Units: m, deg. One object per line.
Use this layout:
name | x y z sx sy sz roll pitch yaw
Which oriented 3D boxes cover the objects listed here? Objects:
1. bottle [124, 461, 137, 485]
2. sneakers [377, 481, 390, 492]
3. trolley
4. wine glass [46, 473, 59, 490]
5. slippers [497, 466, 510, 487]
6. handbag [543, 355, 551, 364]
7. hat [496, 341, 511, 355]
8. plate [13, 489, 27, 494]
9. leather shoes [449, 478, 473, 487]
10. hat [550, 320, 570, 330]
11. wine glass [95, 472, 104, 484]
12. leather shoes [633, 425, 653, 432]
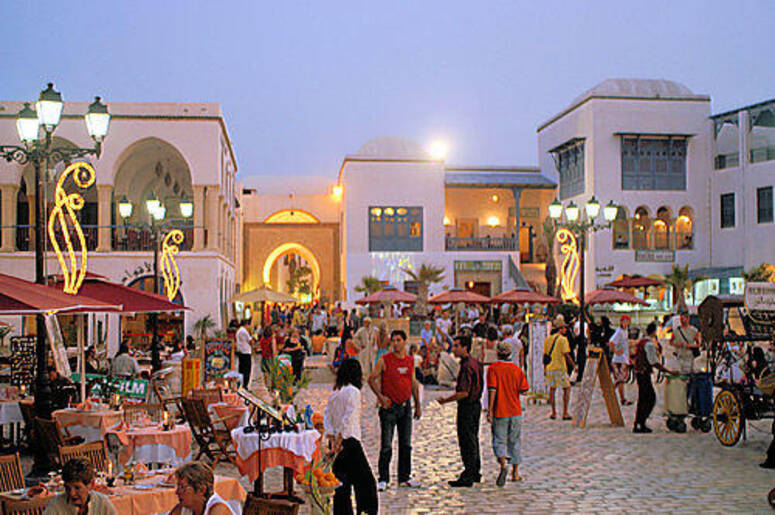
bottle | -5.746 4.776 23.271 0.251 0.418 0.389 -1 -2 -15
sneakers | -0.143 5.445 25.047 0.208 0.192 0.424 -1 -11 1
trolley | 8.454 3.939 29.325 1.488 1.861 1.469 -10 9 -34
wine glass | -7.257 4.853 22.773 0.295 0.319 0.510 -1 -3 -21
slippers | 2.743 5.237 25.320 0.216 0.536 0.210 16 -4 -5
handbag | 4.556 2.908 30.154 0.161 0.319 0.194 -18 -45 16
hat | 2.821 2.229 25.792 0.530 0.312 0.798 2 0 0
plate | -8.047 5.081 22.864 0.260 0.087 0.426 -1 -3 -24
leather shoes | 1.746 5.415 25.401 0.554 0.258 0.218 0 -6 13
hat | 5.119 2.025 31.427 0.496 0.188 0.543 0 -3 13
wine glass | -6.387 4.845 23.167 0.209 0.270 0.230 1 -3 10
leather shoes | 6.973 4.709 28.805 0.416 0.194 0.218 -2 2 -7
